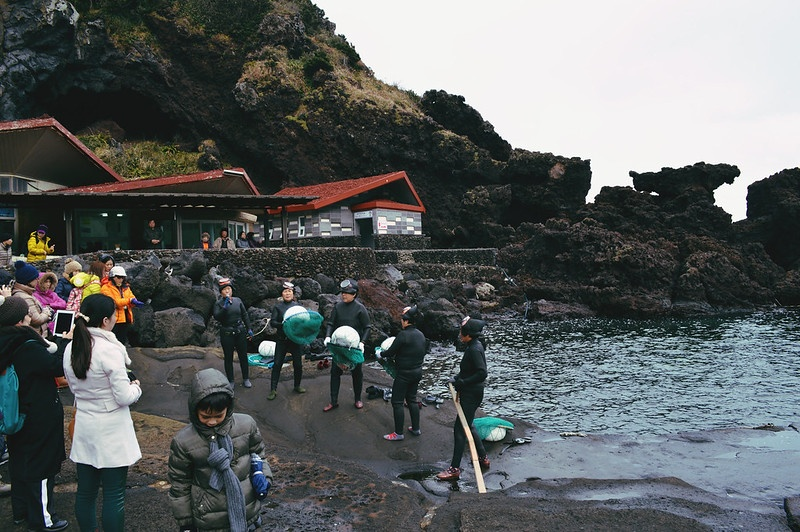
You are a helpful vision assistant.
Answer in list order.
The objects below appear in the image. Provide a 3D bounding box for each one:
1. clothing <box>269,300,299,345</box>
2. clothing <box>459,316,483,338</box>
[{"bbox_3d":[-5.127,2.292,38.070,1.284,1.207,1.672,1,0,5],"label":"clothing"},{"bbox_3d":[3.042,2.482,35.189,0.860,0.881,0.687,6,-3,-1],"label":"clothing"}]
